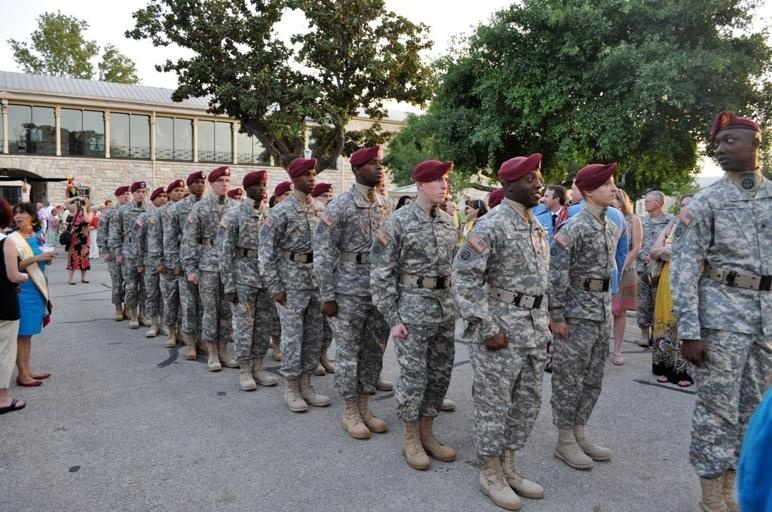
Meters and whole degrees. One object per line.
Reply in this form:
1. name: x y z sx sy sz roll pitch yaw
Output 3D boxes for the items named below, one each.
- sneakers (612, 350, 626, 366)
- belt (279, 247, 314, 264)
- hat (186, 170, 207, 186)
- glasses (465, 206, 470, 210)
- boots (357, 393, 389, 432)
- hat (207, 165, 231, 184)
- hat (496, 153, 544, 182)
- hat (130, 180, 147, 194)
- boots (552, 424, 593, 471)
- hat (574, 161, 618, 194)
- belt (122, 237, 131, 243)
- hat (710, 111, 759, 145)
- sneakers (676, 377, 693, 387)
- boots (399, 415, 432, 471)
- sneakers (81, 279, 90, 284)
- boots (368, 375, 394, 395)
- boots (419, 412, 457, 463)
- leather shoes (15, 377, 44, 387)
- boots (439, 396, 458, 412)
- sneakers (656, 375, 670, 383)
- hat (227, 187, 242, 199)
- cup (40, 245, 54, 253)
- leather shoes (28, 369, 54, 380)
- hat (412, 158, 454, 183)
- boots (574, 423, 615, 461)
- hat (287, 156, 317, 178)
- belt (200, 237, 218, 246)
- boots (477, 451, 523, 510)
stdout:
1. sneakers: 3.409 1.515 9.507 0.120 0.128 0.338 -2 -13 7
2. belt: -1.132 -0.006 8.182 0.252 0.093 0.267 8 9 40
3. hat: -2.918 -1.209 9.883 0.310 0.115 0.222 -1 1 45
4. glasses: 1.488 -0.884 11.720 0.084 0.079 0.061 -33 23 -17
5. boots: -0.192 1.832 7.657 0.193 0.342 0.568 -16 17 -29
6. hat: -2.423 -1.201 9.460 0.318 0.111 0.239 -16 5 8
7. hat: 1.386 -0.929 6.681 0.409 0.154 0.304 -15 9 14
8. hat: -4.561 -1.280 11.900 0.300 0.155 0.391 -4 5 -35
9. boots: 2.024 2.042 6.957 0.245 0.346 0.528 -2 5 -22
10. hat: 2.390 -0.839 7.220 0.412 0.154 0.316 -32 26 28
11. belt: -4.709 -0.302 11.737 0.140 0.092 0.140 9 -12 -44
12. hat: 3.413 -1.305 6.388 0.420 0.204 0.326 8 -6 6
13. sneakers: 3.976 1.671 8.604 0.189 0.073 0.081 -7 17 -6
14. boots: 0.335 2.013 6.927 0.233 0.462 0.312 -5 14 -20
15. sneakers: -7.303 0.597 15.693 0.295 0.100 0.094 1 4 13
16. boots: -0.035 1.702 8.542 0.487 0.175 0.161 -2 -1 -7
17. boots: 0.553 2.008 7.133 0.202 0.365 0.579 -10 9 -38
18. leather shoes: -4.680 1.653 8.499 0.342 0.087 0.119 -1 -4 -3
19. boots: 0.717 1.833 8.044 0.163 0.141 0.367 4 -6 -41
20. sneakers: 3.745 1.661 8.756 0.066 0.038 0.169 -9 12 -14
21. hat: -2.415 -1.000 10.235 0.191 0.080 0.224 -5 1 -39
22. cup: -4.230 -0.086 8.076 0.133 0.086 0.123 2 0 0
23. leather shoes: -4.635 1.605 8.685 0.287 0.108 0.092 -2 -2 17
24. hat: 0.504 -0.901 7.077 0.354 0.110 0.278 -13 34 10
25. boots: 2.200 2.040 7.090 0.621 0.347 0.188 14 -11 -15
26. hat: -1.076 -1.124 8.172 0.328 0.104 0.234 -1 26 37
27. belt: -2.617 -0.225 9.453 0.159 0.102 0.156 -2 5 -33
28. boots: 1.150 2.249 6.449 0.221 0.463 0.407 -9 16 -35
